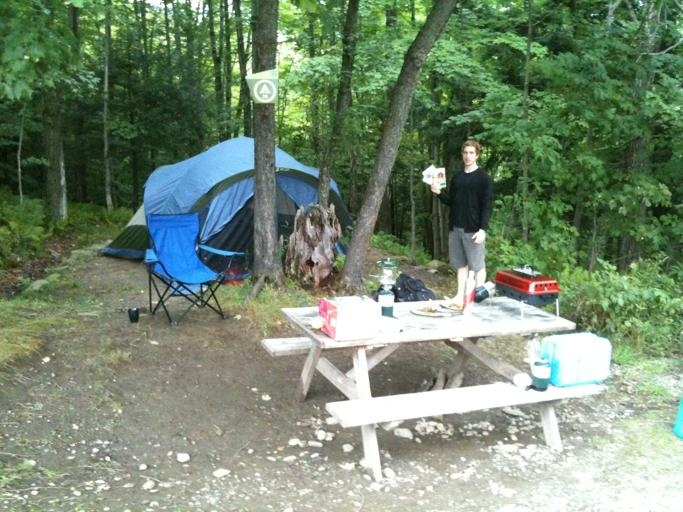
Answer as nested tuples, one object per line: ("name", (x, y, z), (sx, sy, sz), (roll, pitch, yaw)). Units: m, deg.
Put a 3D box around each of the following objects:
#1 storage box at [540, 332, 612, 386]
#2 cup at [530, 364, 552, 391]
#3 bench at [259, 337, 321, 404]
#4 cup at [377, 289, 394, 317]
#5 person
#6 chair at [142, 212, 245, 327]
("storage box", (2.226, 0.933, 6.046), (0.795, 0.575, 0.456), (-1, -2, -16))
("cup", (1.878, 1.118, 5.891), (0.226, 0.292, 0.244), (0, 1, 0))
("bench", (-0.512, 1.200, 6.546), (0.696, 0.659, 0.683), (5, 6, -15))
("cup", (0.419, 0.463, 6.148), (0.215, 0.327, 0.206), (-2, 5, 0))
("person", (1.428, -0.494, 7.290), (0.592, 1.677, 0.344), (7, 11, 36))
("chair", (-2.171, 0.118, 8.248), (0.947, 1.350, 1.236), (6, 9, 41))
